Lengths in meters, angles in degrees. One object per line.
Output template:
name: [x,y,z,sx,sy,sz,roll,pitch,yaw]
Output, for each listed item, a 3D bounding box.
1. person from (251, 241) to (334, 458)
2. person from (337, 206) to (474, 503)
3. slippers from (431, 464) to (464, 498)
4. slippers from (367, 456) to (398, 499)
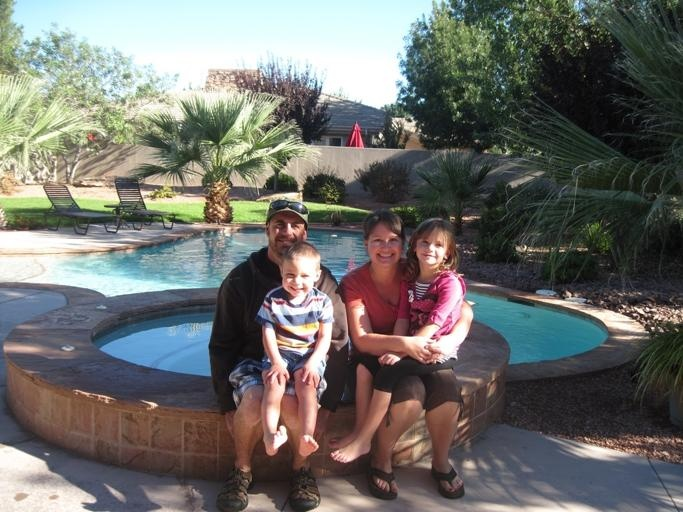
person: [-0.315,0.636,3.141,0.504,1.390,0.757,2,12,-1]
person: [0.419,0.596,3.331,0.911,1.716,1.019,2,12,2]
slippers: [0.684,1.448,3.095,0.229,0.132,0.180,5,11,17]
slippers: [0.248,1.429,3.069,0.237,0.161,0.137,9,13,32]
